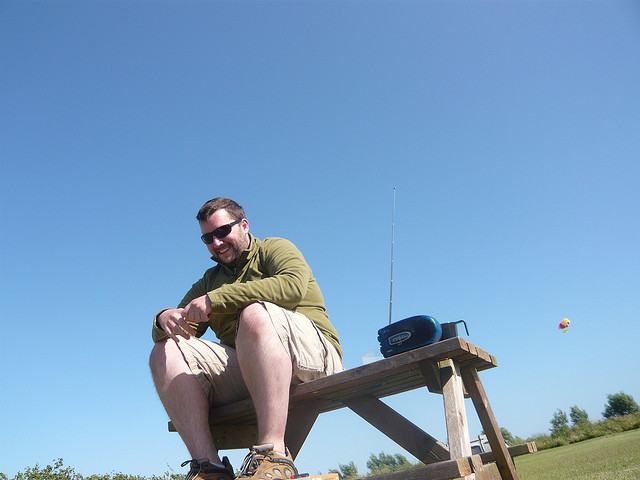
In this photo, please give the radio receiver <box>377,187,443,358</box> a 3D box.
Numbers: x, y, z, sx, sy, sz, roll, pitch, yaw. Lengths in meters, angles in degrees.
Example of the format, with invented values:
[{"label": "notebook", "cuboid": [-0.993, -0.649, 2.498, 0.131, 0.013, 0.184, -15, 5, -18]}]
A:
[{"label": "radio receiver", "cuboid": [0.587, 0.397, 3.650, 0.501, 0.915, 0.365, -19, -19, 18]}]
